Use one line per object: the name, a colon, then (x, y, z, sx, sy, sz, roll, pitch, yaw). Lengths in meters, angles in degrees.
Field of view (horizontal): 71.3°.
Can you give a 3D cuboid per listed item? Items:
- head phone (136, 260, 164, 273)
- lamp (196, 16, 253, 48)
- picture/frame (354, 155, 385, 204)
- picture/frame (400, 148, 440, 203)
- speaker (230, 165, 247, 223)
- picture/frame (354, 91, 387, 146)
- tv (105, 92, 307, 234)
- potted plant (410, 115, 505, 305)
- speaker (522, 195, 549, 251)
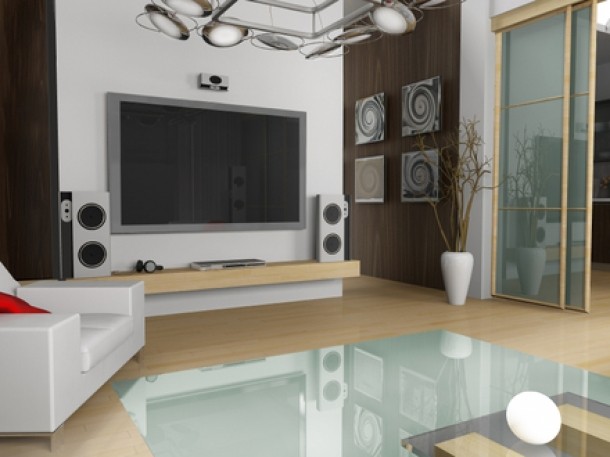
head phone: (-1.535, 0.380, 4.152, 0.140, 0.083, 0.163, 0, -1, -2)
lamp: (-0.521, -1.263, 2.744, 0.301, 0.103, 0.266, 0, 2, -8)
picture/frame: (0.986, -0.743, 6.416, 0.078, 0.822, 0.768, 0, 0, -30)
picture/frame: (1.540, -0.701, 5.637, 0.074, 0.781, 0.754, 0, 0, -33)
speaker: (-0.728, -0.382, 4.615, 0.164, 0.757, 0.144, -1, 38, -10)
picture/frame: (0.992, -1.640, 6.351, 0.087, 0.925, 0.892, -1, 1, -29)
tv: (-1.105, -0.684, 4.371, 1.527, 1.004, 0.041, -2, 3, -26)
potted plant: (1.629, -0.246, 5.146, 0.688, 2.169, 1.002, -2, 2, -40)
speaker: (2.536, -0.044, 4.696, 0.250, 0.631, 0.277, -4, -5, 13)
